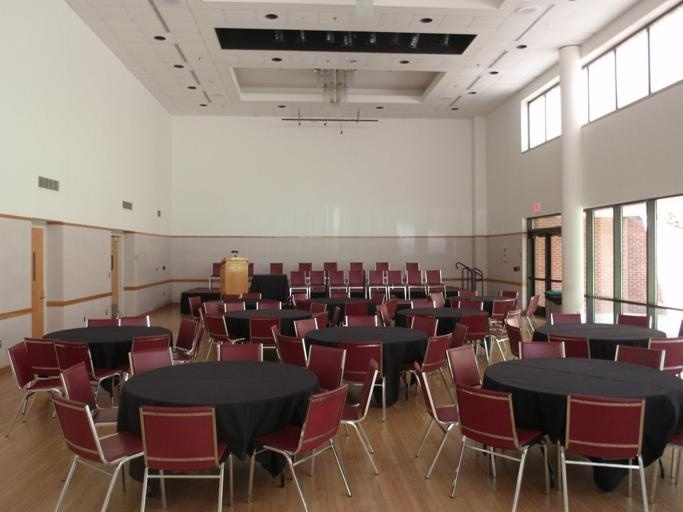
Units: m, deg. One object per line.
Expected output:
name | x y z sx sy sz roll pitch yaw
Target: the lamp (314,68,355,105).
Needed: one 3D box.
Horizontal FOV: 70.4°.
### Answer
lamp | -0.113 -5.658 15.489 0.729 1.314 0.912 -36 62 -24
